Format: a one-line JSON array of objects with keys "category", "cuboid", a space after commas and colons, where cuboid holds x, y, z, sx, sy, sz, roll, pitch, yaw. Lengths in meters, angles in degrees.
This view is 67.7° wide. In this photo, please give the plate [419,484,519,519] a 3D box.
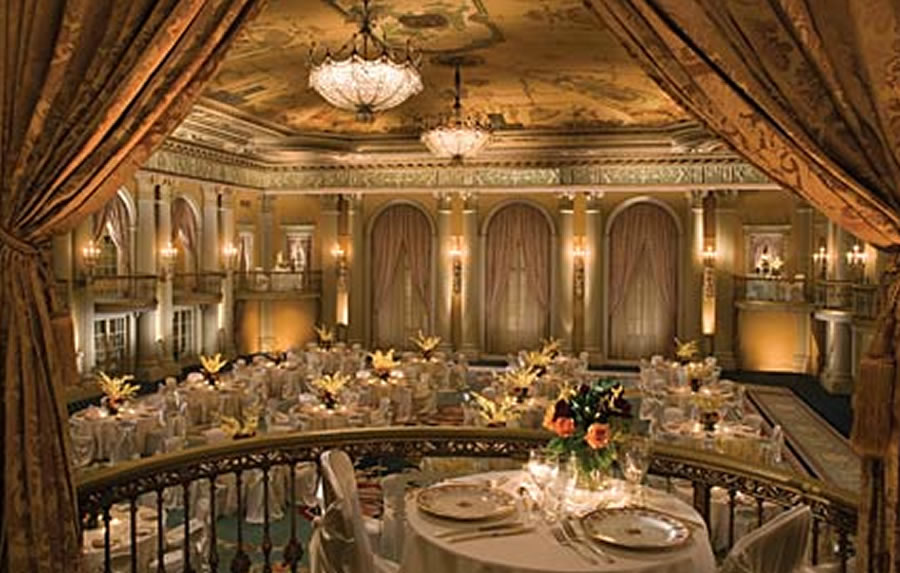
[{"category": "plate", "cuboid": [0.092, 1.282, 4.008, 0.592, 0.197, 0.371, -2, -1, 4]}]

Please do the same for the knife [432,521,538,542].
[{"category": "knife", "cuboid": [0.200, 1.372, 3.765, 0.558, 0.041, 0.117, -2, -1, -10]}]

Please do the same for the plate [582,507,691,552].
[{"category": "plate", "cuboid": [1.011, 1.330, 3.722, 0.568, 0.066, 0.588, 2, 2, 37]}]
